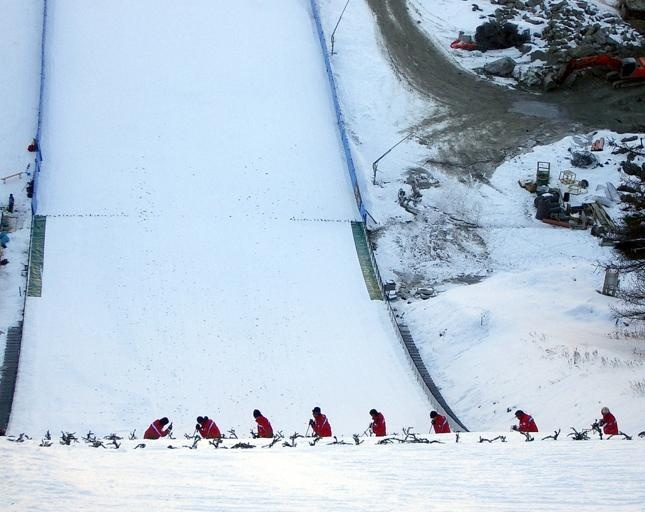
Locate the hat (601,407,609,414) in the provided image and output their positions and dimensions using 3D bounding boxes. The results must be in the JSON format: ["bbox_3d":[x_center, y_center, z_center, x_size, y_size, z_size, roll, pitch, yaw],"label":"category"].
[{"bbox_3d":[7.364,4.017,25.559,0.167,0.219,0.191,-4,95,4],"label":"hat"}]

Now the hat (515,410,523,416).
[{"bbox_3d":[5.223,4.204,26.148,0.158,0.120,0.163,-11,16,35],"label":"hat"}]

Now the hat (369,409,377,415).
[{"bbox_3d":[1.357,4.200,26.348,0.159,0.205,0.201,-2,79,2],"label":"hat"}]

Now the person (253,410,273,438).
[{"bbox_3d":[-1.570,4.628,26.306,0.442,0.844,0.916,-5,53,-7],"label":"person"}]

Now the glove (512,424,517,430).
[{"bbox_3d":[5.207,4.641,26.625,0.090,0.114,0.097,6,98,16],"label":"glove"}]

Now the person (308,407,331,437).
[{"bbox_3d":[-0.087,4.558,26.783,0.319,0.883,0.265,-14,56,4],"label":"person"}]

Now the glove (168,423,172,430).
[{"bbox_3d":[-4.153,4.629,26.672,0.099,0.249,0.076,40,87,1],"label":"glove"}]

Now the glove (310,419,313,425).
[{"bbox_3d":[-0.298,4.478,26.444,0.110,0.041,0.111,2,84,7],"label":"glove"}]

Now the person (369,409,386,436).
[{"bbox_3d":[1.486,4.586,26.434,0.430,0.892,0.881,3,52,-1],"label":"person"}]
